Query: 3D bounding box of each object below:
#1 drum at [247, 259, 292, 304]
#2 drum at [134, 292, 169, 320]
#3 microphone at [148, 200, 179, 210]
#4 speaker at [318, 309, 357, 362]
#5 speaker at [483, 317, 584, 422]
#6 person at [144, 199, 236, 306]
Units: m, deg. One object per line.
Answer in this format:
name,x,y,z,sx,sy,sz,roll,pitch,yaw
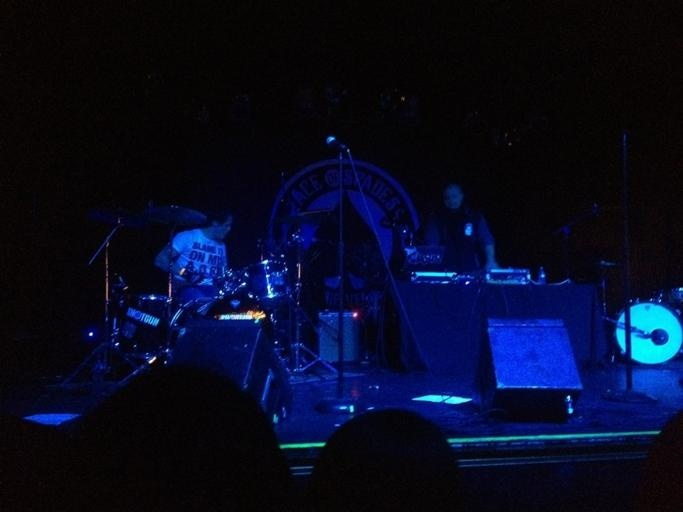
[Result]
drum,-0.836,0.186,7.489,0.439,0.477,0.427,-13,24,-20
drum,-2.046,0.543,7.336,0.386,0.279,0.153,-1,-11,17
microphone,-2.150,-0.621,8.103,0.202,0.057,0.210,2,1,42
speaker,-0.050,0.991,8.308,0.429,0.674,0.427,5,-10,-34
speaker,1.613,0.939,5.831,0.700,0.809,0.807,0,-1,4
person,-1.729,0.247,8.428,0.824,1.702,0.480,7,32,-7
